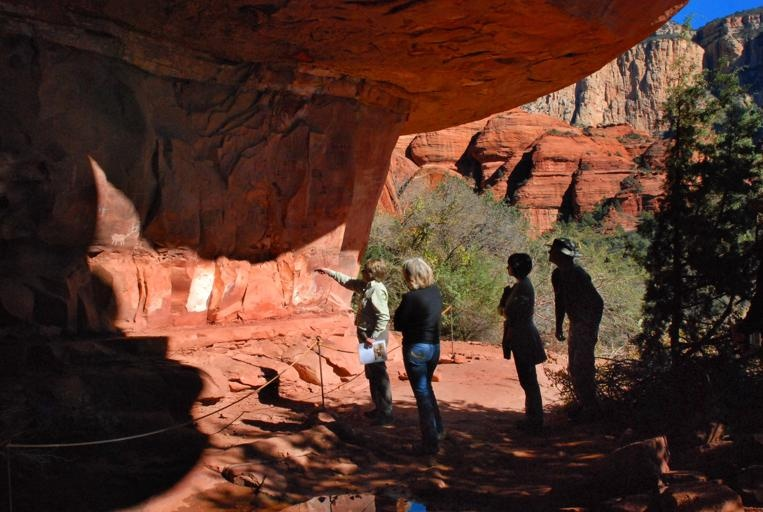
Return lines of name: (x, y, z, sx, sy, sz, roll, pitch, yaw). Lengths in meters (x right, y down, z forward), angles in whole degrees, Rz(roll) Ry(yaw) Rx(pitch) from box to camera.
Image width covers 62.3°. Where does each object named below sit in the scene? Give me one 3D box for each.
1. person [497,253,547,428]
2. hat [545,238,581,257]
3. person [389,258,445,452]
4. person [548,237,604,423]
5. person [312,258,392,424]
person: (1.511, 0.889, 6.761, 0.491, 1.848, 0.557, 0, -3, 10)
hat: (1.973, -0.096, 6.797, 0.263, 0.217, 0.420, 0, -3, 11)
person: (0.351, 0.965, 6.125, 0.470, 1.886, 0.193, 1, -3, -14)
person: (2.088, 0.753, 6.728, 0.513, 1.883, 0.447, 0, -3, 17)
person: (-0.224, 0.920, 6.917, 0.711, 1.749, 1.131, 1, -3, -2)
